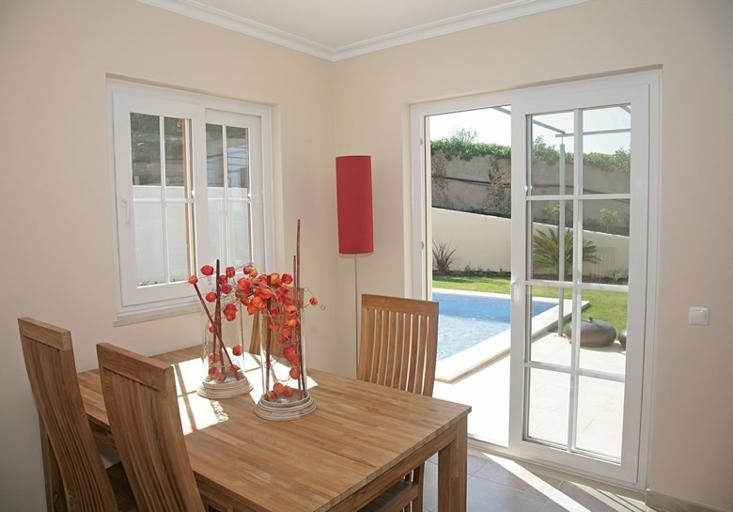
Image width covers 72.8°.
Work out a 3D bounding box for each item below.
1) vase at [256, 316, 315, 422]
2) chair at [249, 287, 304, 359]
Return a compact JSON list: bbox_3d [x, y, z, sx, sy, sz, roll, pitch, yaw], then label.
[{"bbox_3d":[-0.452,0.595,2.655,0.355,0.476,0.372,-8,-8,32],"label":"vase"},{"bbox_3d":[-0.455,0.318,2.541,0.245,0.431,0.255,2,19,-8],"label":"chair"}]
